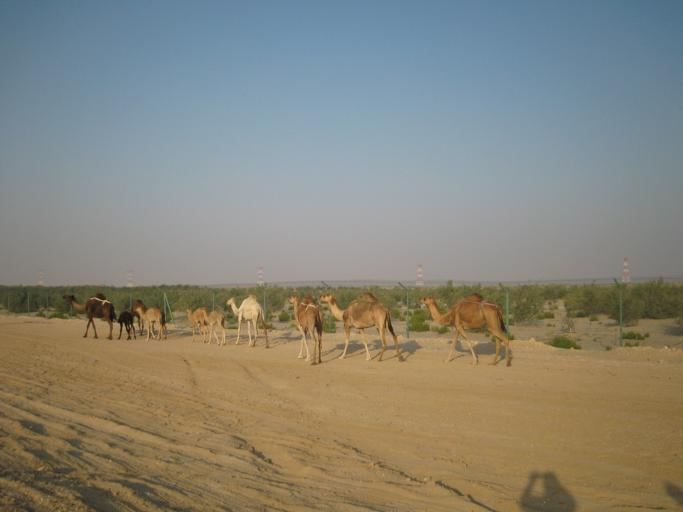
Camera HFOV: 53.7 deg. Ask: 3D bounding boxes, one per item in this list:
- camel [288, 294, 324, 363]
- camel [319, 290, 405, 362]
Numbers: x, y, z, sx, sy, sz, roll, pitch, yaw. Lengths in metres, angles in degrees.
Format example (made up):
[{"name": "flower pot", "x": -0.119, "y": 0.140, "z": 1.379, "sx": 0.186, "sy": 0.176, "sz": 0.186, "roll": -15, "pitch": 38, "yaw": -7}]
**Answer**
[{"name": "camel", "x": -1.185, "y": 2.543, "z": 23.545, "sx": 1.076, "sy": 2.304, "sz": 3.714, "roll": 3, "pitch": 5, "yaw": -4}, {"name": "camel", "x": 0.622, "y": 2.374, "z": 22.346, "sx": 3.031, "sy": 2.039, "sz": 0.747, "roll": -5, "pitch": -2, "yaw": 40}]
